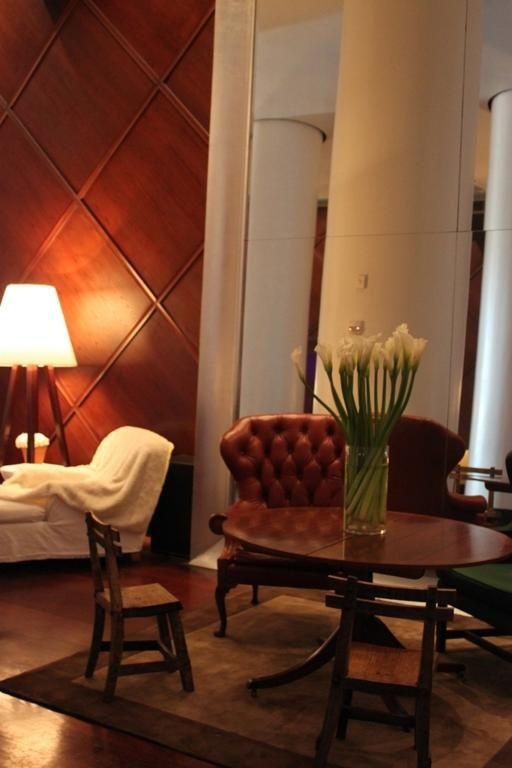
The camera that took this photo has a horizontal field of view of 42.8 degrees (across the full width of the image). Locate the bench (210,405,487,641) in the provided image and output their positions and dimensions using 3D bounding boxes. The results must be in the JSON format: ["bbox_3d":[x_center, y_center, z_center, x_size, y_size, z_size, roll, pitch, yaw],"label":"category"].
[{"bbox_3d":[0.355,0.563,2.916,1.049,0.834,0.713,-1,4,12],"label":"bench"}]

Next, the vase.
[{"bbox_3d":[0.334,0.317,2.000,0.128,0.260,0.162,2,-4,9],"label":"vase"}]

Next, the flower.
[{"bbox_3d":[0.363,0.153,2.040,0.354,0.595,0.433,-3,-2,40],"label":"flower"}]
